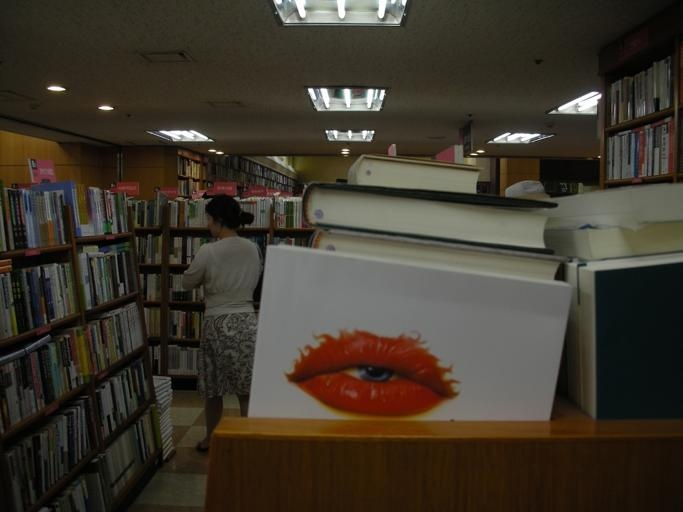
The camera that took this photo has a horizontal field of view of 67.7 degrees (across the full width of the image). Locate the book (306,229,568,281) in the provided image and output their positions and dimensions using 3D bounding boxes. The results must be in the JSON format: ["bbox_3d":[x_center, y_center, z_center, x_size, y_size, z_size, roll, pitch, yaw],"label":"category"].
[{"bbox_3d":[0.180,0.000,0.884,0.223,0.028,0.184,10,-4,1],"label":"book"}]

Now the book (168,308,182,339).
[{"bbox_3d":[-1.519,0.643,4.671,0.133,0.237,0.049,2,4,18],"label":"book"}]

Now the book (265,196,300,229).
[{"bbox_3d":[-0.537,-0.391,4.689,0.341,0.364,0.259,1,-2,-7],"label":"book"}]

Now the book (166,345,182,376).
[{"bbox_3d":[-1.510,0.953,4.600,0.122,0.240,0.062,0,4,-5],"label":"book"}]

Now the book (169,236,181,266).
[{"bbox_3d":[-1.535,-0.038,4.710,0.114,0.238,0.064,0,4,-3],"label":"book"}]

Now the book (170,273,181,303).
[{"bbox_3d":[-1.519,0.309,4.695,0.118,0.246,0.114,-1,4,-20],"label":"book"}]

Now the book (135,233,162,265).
[{"bbox_3d":[-1.777,-0.044,4.711,0.221,0.316,0.313,0,0,-3],"label":"book"}]

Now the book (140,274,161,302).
[{"bbox_3d":[-1.721,0.305,4.602,0.161,0.228,0.226,-3,4,-1],"label":"book"}]
